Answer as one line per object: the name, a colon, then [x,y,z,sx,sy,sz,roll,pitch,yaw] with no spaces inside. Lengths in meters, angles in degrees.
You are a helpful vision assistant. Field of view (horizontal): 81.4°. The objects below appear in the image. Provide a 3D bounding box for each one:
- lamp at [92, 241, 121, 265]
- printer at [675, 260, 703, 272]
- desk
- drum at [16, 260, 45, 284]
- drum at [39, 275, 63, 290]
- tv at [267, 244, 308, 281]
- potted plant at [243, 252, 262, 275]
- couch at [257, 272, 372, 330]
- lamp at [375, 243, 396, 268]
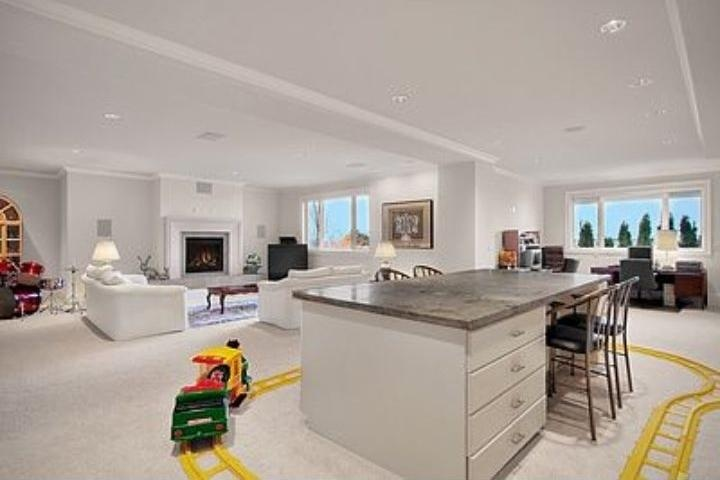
lamp: [-5.001,0.252,8.214,0.528,0.508,0.533,1,1,43]
printer: [6.284,0.496,8.044,0.380,0.180,0.237,5,14,24]
desk: [6.312,0.815,8.645,0.522,0.695,1.540,-10,4,13]
drum: [-5.996,0.613,7.660,0.426,0.317,0.443,-14,-36,-11]
drum: [-5.629,0.785,7.667,0.340,0.122,0.316,2,0,0]
tv: [-1.847,0.535,10.493,0.972,0.877,0.336,0,1,-6]
potted plant: [-2.845,0.632,11.290,0.438,0.543,0.548,1,-5,-11]
couch: [-0.932,0.905,6.801,1.399,0.928,0.619,-4,14,-16]
lamp: [0.539,0.323,8.732,0.360,0.709,1.001,1,13,7]
